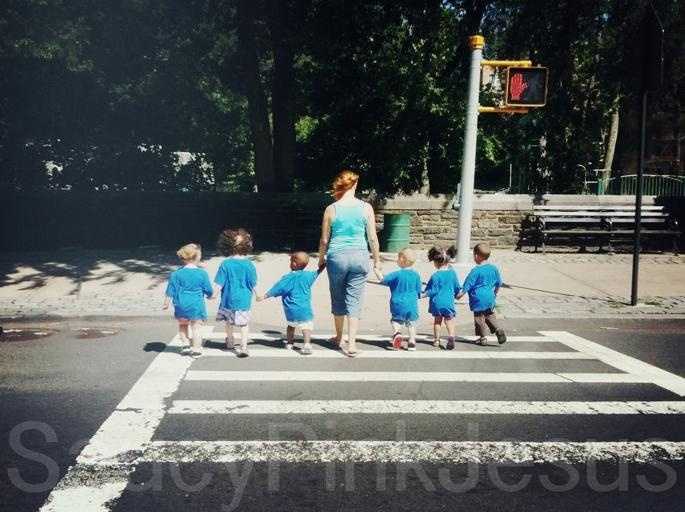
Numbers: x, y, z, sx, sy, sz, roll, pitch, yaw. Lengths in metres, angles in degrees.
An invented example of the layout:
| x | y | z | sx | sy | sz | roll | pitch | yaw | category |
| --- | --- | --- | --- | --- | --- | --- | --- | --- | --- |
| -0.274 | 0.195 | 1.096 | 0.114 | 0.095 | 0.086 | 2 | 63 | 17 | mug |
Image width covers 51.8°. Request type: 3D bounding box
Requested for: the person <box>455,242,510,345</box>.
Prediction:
| x | y | z | sx | sy | sz | roll | pitch | yaw | category |
| --- | --- | --- | --- | --- | --- | --- | --- | --- | --- |
| 1.966 | 0.501 | 9.834 | 0.662 | 1.410 | 0.446 | 4 | 11 | 14 | person |

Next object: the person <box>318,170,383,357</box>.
| x | y | z | sx | sy | sz | roll | pitch | yaw | category |
| --- | --- | --- | --- | --- | --- | --- | --- | --- | --- |
| 0.076 | 0.102 | 9.217 | 0.769 | 2.368 | 0.584 | 0 | 11 | -2 | person |

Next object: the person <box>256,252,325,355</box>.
| x | y | z | sx | sy | sz | roll | pitch | yaw | category |
| --- | --- | --- | --- | --- | --- | --- | --- | --- | --- |
| -0.772 | 0.744 | 10.437 | 1.017 | 1.290 | 0.861 | -2 | 24 | -13 | person |

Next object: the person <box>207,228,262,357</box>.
| x | y | z | sx | sy | sz | roll | pitch | yaw | category |
| --- | --- | --- | --- | --- | --- | --- | --- | --- | --- |
| -1.404 | 0.467 | 9.259 | 0.528 | 1.613 | 0.692 | -1 | 11 | -10 | person |

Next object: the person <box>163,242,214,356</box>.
| x | y | z | sx | sy | sz | roll | pitch | yaw | category |
| --- | --- | --- | --- | --- | --- | --- | --- | --- | --- |
| -2.050 | 0.538 | 9.379 | 0.632 | 1.416 | 1.096 | -2 | 11 | -13 | person |

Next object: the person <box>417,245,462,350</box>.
| x | y | z | sx | sy | sz | roll | pitch | yaw | category |
| --- | --- | --- | --- | --- | --- | --- | --- | --- | --- |
| 1.402 | 0.532 | 9.969 | 0.515 | 1.410 | 1.002 | 3 | 11 | 10 | person |

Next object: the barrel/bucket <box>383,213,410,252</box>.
| x | y | z | sx | sy | sz | roll | pitch | yaw | category |
| --- | --- | --- | --- | --- | --- | --- | --- | --- | --- |
| 1.308 | -0.580 | 17.130 | 0.793 | 0.939 | 0.847 | 0 | -1 | 0 | barrel/bucket |

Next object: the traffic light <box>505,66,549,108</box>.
| x | y | z | sx | sy | sz | roll | pitch | yaw | category |
| --- | --- | --- | --- | --- | --- | --- | --- | --- | --- |
| 3.501 | -3.234 | 13.492 | 0.778 | 0.791 | 0.410 | 1 | 8 | -1 | traffic light |
